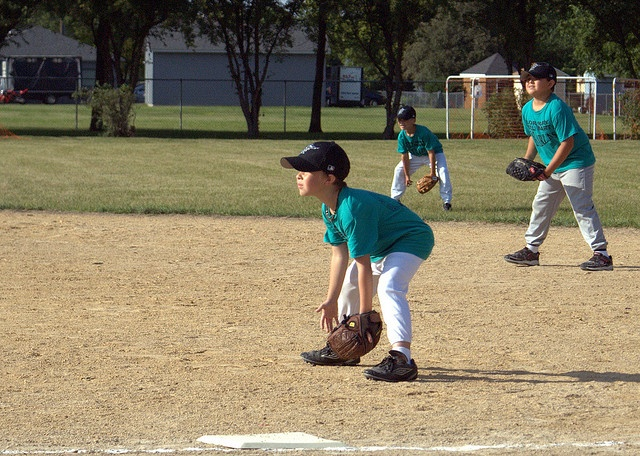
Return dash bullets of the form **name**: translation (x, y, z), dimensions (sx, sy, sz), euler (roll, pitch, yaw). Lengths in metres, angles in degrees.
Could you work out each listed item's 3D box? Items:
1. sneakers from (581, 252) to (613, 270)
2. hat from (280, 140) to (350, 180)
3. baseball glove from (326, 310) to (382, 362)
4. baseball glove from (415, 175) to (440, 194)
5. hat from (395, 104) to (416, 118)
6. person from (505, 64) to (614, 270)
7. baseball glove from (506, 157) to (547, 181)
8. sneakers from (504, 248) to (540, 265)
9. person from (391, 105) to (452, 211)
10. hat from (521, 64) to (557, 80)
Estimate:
- **sneakers**: translation (4.391, 0.523, 18.741), dimensions (0.509, 0.279, 0.223), euler (1, 1, -9)
- **hat**: translation (-0.010, -0.898, 15.894), dimensions (0.754, 0.444, 0.502), euler (16, 5, -5)
- **baseball glove**: translation (0.503, 1.456, 16.171), dimensions (0.530, 0.359, 0.722), euler (-30, 11, 47)
- **baseball glove**: translation (2.001, -0.813, 21.922), dimensions (0.371, 0.142, 0.281), euler (-27, 40, 12)
- **hat**: translation (1.605, -2.140, 21.458), dimensions (0.208, 0.180, 0.308), euler (6, 6, 39)
- **person**: translation (3.783, -0.981, 18.733), dimensions (1.407, 3.306, 0.767), euler (0, 4, 9)
- **baseball glove**: translation (3.273, -0.902, 18.647), dimensions (0.453, 0.209, 0.332), euler (17, -4, -13)
- **sneakers**: translation (3.280, 0.462, 19.165), dimensions (0.582, 0.315, 0.233), euler (6, 2, -2)
- **person**: translation (1.876, -1.354, 22.031), dimensions (1.201, 1.956, 1.161), euler (0, 10, 19)
- **hat**: translation (3.457, -2.459, 18.472), dimensions (0.411, 0.236, 0.297), euler (0, 7, -15)
